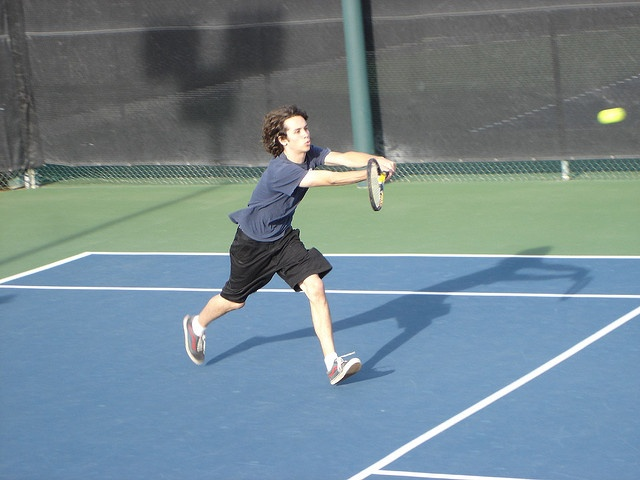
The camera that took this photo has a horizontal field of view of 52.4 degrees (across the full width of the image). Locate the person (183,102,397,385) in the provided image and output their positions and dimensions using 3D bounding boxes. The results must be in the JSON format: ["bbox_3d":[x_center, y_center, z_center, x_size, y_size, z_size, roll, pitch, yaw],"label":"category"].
[{"bbox_3d":[-0.245,0.027,5.158,1.553,2.147,0.601,5,10,25],"label":"person"}]
